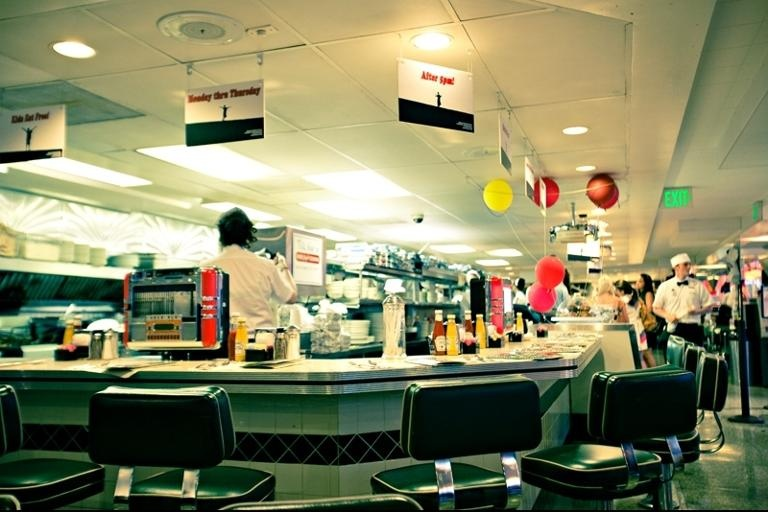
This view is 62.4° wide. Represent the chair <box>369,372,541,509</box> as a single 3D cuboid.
[{"bbox_3d":[0.435,1.193,4.128,0.946,1.069,0.917,2,-6,-22],"label":"chair"}]

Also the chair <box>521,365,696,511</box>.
[{"bbox_3d":[1.626,1.152,4.520,1.011,1.248,1.076,7,-10,-34],"label":"chair"}]

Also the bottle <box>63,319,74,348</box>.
[{"bbox_3d":[-2.596,0.634,5.219,0.085,0.224,0.248,2,-9,-27],"label":"bottle"}]

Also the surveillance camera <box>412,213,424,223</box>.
[{"bbox_3d":[0.628,-0.672,11.347,0.167,0.109,0.165,4,6,30],"label":"surveillance camera"}]

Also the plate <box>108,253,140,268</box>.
[{"bbox_3d":[-3.997,0.074,9.726,0.252,0.129,0.258,-2,-5,42],"label":"plate"}]

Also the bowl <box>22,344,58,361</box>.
[{"bbox_3d":[-4.545,1.238,8.355,0.382,0.167,0.394,-2,-8,0],"label":"bowl"}]

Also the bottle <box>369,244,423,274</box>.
[{"bbox_3d":[0.141,0.059,9.349,0.276,0.283,1.562,-6,-11,24],"label":"bottle"}]

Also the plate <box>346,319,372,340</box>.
[{"bbox_3d":[-0.288,0.851,7.411,0.255,0.150,0.225,-1,-10,16],"label":"plate"}]

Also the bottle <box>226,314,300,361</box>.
[{"bbox_3d":[-0.905,0.606,4.870,0.430,0.230,0.405,0,-3,0],"label":"bottle"}]

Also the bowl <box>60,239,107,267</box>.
[{"bbox_3d":[-4.370,-0.027,9.179,0.124,0.302,0.748,-6,-9,26],"label":"bowl"}]

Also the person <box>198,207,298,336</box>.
[{"bbox_3d":[-1.166,0.103,5.495,0.544,1.063,0.716,-5,-9,20],"label":"person"}]

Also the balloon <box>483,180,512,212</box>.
[{"bbox_3d":[1.475,-0.780,8.221,0.517,0.448,0.558,-1,2,7],"label":"balloon"}]

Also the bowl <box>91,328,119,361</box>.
[{"bbox_3d":[-2.246,0.704,5.089,0.214,0.239,0.222,-2,-8,0],"label":"bowl"}]
